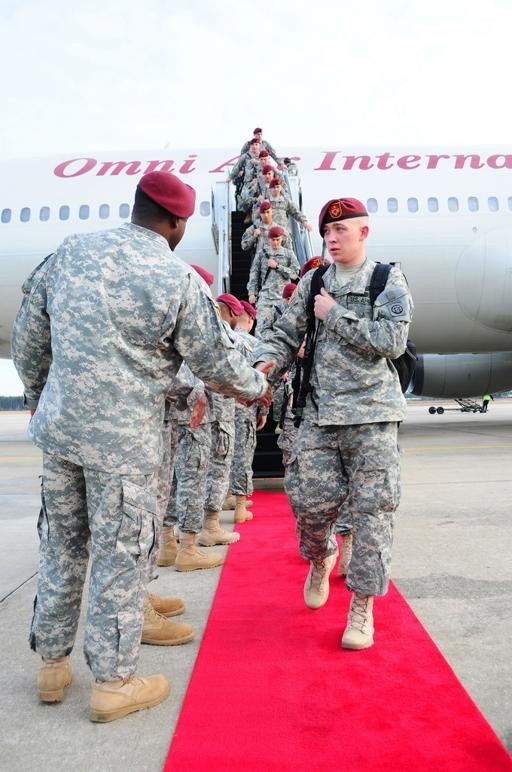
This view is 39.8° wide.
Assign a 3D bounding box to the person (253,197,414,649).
[{"bbox_3d":[0.308,0.093,2.712,0.487,1.635,0.556,-4,2,-43],"label":"person"}]

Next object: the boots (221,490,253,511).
[{"bbox_3d":[-0.107,0.832,5.209,0.290,0.174,0.100,-5,5,-10],"label":"boots"}]

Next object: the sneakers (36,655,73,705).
[{"bbox_3d":[-0.602,0.894,2.137,0.065,0.068,0.166,-1,-1,1],"label":"sneakers"}]

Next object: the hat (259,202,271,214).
[{"bbox_3d":[0.084,-1.767,7.045,0.105,0.071,0.141,-12,-10,-33],"label":"hat"}]

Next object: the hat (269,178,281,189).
[{"bbox_3d":[0.202,-2.088,7.299,0.141,0.054,0.170,-4,11,5],"label":"hat"}]

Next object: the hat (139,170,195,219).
[{"bbox_3d":[-0.334,-0.623,2.273,0.236,0.101,0.290,-6,16,-5],"label":"hat"}]

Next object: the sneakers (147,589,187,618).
[{"bbox_3d":[-0.356,0.878,2.851,0.195,0.067,0.066,-1,2,-6],"label":"sneakers"}]

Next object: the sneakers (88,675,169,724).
[{"bbox_3d":[-0.364,0.919,2.129,0.258,0.106,0.097,1,-4,-40],"label":"sneakers"}]

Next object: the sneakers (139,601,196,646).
[{"bbox_3d":[-0.276,0.883,2.618,0.304,0.111,0.092,2,-3,-1],"label":"sneakers"}]

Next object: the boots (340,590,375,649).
[{"bbox_3d":[0.371,0.829,2.518,0.099,0.167,0.188,-1,2,22],"label":"boots"}]

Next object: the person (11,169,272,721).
[{"bbox_3d":[-0.392,0.147,2.145,0.759,1.619,0.321,-2,2,-1],"label":"person"}]

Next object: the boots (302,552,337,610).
[{"bbox_3d":[0.262,0.804,2.877,0.099,0.246,0.116,9,-15,25],"label":"boots"}]

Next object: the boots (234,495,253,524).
[{"bbox_3d":[-0.084,0.804,4.673,0.112,0.170,0.196,1,10,12],"label":"boots"}]

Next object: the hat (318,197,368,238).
[{"bbox_3d":[0.332,-0.661,2.761,0.204,0.127,0.141,3,-4,5],"label":"hat"}]
